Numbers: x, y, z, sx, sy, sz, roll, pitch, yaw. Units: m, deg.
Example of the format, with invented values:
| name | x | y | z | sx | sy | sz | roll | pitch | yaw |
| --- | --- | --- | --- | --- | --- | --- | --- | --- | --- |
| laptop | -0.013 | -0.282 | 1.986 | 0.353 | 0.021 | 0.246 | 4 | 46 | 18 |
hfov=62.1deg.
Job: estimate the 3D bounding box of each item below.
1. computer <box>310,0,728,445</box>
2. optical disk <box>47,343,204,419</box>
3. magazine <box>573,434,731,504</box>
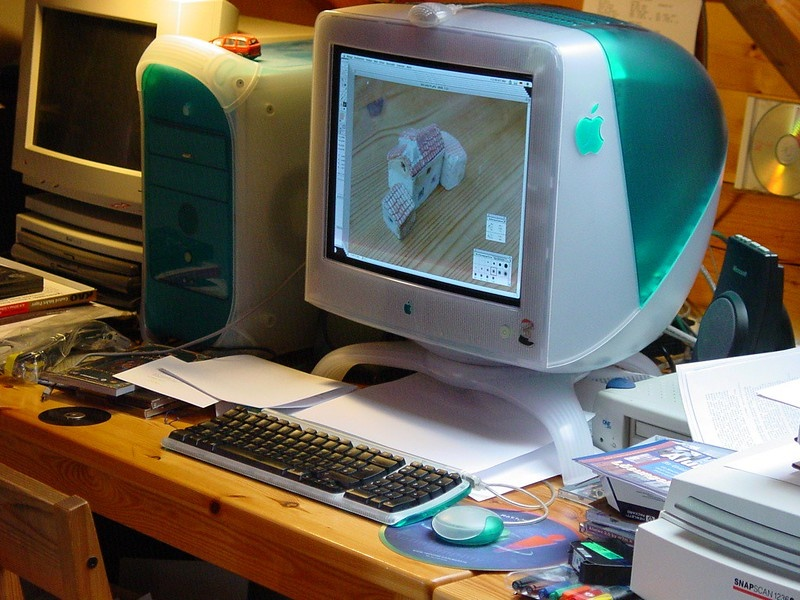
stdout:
| name | x | y | z | sx | sy | sz | roll | pitch | yaw |
| --- | --- | --- | --- | --- | --- | --- | --- | --- | --- |
| computer | 0.221 | -0.205 | 1.308 | 0.692 | 0.668 | 0.693 | -17 | 28 | -34 |
| optical disk | -0.517 | 0.136 | 1.247 | 0.203 | 0.048 | 0.231 | 10 | 13 | 26 |
| magazine | 0.313 | 0.183 | 0.803 | 0.099 | 0.015 | 0.089 | -22 | 28 | -30 |
